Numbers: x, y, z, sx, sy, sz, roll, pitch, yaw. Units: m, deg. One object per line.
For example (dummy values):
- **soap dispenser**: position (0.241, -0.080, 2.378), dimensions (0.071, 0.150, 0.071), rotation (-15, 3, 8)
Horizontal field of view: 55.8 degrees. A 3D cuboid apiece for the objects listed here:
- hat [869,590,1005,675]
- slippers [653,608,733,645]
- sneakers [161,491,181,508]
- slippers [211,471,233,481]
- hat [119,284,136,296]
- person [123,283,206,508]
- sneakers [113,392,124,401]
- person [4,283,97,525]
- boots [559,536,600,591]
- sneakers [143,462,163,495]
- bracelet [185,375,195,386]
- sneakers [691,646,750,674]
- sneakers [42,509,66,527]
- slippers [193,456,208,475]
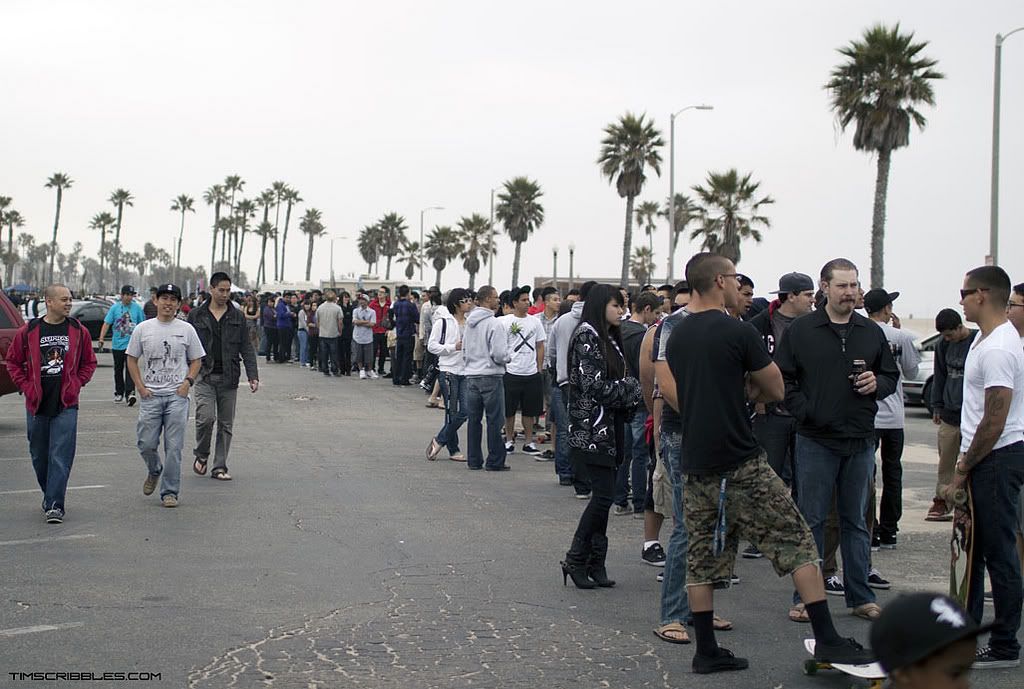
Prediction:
- **hat**: position (1.560, 1.076, 3.596), dimensions (0.368, 0.215, 0.270), rotation (-24, -1, 3)
- **slippers**: position (1.230, 2.070, 7.108), dimensions (0.227, 0.140, 0.460), rotation (2, -5, -19)
- **sneakers**: position (-3.772, 1.725, 10.677), dimensions (0.137, 0.140, 0.333), rotation (1, -7, -23)
- **slippers**: position (-3.680, 1.685, 12.296), dimensions (0.112, 0.124, 0.307), rotation (2, -9, -36)
- **hat**: position (-7.657, -1.055, 19.227), dimensions (0.251, 0.290, 0.321), rotation (2, -17, -7)
- **person**: position (-3.947, 0.545, 11.018), dimensions (0.779, 2.453, 1.070), rotation (0, 3, -22)
- **sneakers**: position (-8.274, 1.123, 20.384), dimensions (0.153, 0.157, 0.363), rotation (2, -6, -18)
- **person**: position (-4.794, 0.590, 10.071), dimensions (0.813, 2.401, 0.799), rotation (0, 4, -24)
- **boots**: position (0.555, 1.915, 8.262), dimensions (0.490, 0.517, 0.208), rotation (-1, -1, -15)
- **sneakers**: position (-4.139, 1.573, 11.182), dimensions (0.127, 0.389, 0.162), rotation (15, 12, 4)
- **bracelet**: position (-3.682, 0.419, 11.048), dimensions (0.062, 0.098, 0.101), rotation (-28, -20, -30)
- **sneakers**: position (1.438, 2.163, 6.615), dimensions (0.380, 0.161, 0.161), rotation (-1, 3, -15)
- **sneakers**: position (-4.660, 1.767, 9.844), dimensions (0.102, 0.124, 0.272), rotation (3, 3, -7)
- **slippers**: position (-4.050, 1.590, 12.595), dimensions (0.122, 0.315, 0.083), rotation (4, 6, -14)
